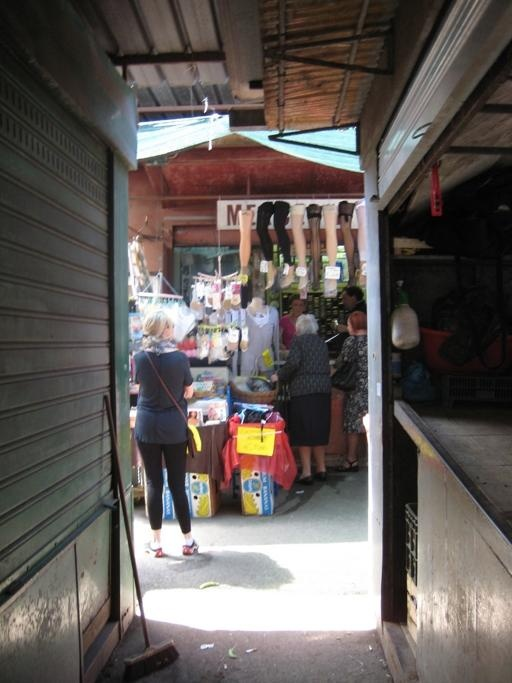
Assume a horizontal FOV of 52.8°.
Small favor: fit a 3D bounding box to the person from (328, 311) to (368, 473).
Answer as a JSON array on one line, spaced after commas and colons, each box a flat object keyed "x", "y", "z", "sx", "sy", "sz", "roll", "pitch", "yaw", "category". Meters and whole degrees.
[{"x": 0.925, "y": 0.534, "z": 5.123, "sx": 0.333, "sy": 1.640, "sz": 0.863, "roll": -1, "pitch": -1, "yaw": 9, "category": "person"}]

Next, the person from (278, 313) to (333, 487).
[{"x": 0.474, "y": 0.548, "z": 5.021, "sx": 0.489, "sy": 1.623, "sz": 0.279, "roll": -1, "pitch": -1, "yaw": 4, "category": "person"}]

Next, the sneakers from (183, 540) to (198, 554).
[{"x": -0.447, "y": 1.397, "z": 3.539, "sx": 0.047, "sy": 0.070, "sz": 0.145, "roll": 0, "pitch": -2, "yaw": 7, "category": "sneakers"}]

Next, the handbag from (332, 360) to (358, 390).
[{"x": 0.900, "y": 0.331, "z": 5.149, "sx": 0.115, "sy": 0.289, "sz": 0.197, "roll": -7, "pitch": 14, "yaw": -42, "category": "handbag"}]

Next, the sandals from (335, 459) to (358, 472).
[{"x": 0.949, "y": 1.282, "z": 5.419, "sx": 0.202, "sy": 0.116, "sz": 0.108, "roll": 6, "pitch": -9, "yaw": -2, "category": "sandals"}]

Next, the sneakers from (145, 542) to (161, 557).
[{"x": -0.712, "y": 1.400, "z": 3.543, "sx": 0.054, "sy": 0.077, "sz": 0.153, "roll": 9, "pitch": 2, "yaw": -32, "category": "sneakers"}]

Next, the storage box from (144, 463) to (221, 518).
[{"x": -0.606, "y": 1.259, "z": 4.216, "sx": 0.487, "sy": 0.632, "sz": 0.555, "roll": 0, "pitch": 3, "yaw": -1, "category": "storage box"}]

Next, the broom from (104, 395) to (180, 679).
[{"x": -0.547, "y": 0.832, "z": 2.390, "sx": 0.320, "sy": 1.188, "sz": 0.431, "roll": 0, "pitch": -1, "yaw": -31, "category": "broom"}]

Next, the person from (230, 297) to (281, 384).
[{"x": -0.011, "y": -0.057, "z": 5.792, "sx": 0.545, "sy": 0.896, "sz": 1.003, "roll": -1, "pitch": -1, "yaw": 2, "category": "person"}]

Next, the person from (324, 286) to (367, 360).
[{"x": 0.987, "y": -0.197, "z": 5.718, "sx": 0.394, "sy": 1.415, "sz": 0.397, "roll": 2, "pitch": -19, "yaw": 16, "category": "person"}]
